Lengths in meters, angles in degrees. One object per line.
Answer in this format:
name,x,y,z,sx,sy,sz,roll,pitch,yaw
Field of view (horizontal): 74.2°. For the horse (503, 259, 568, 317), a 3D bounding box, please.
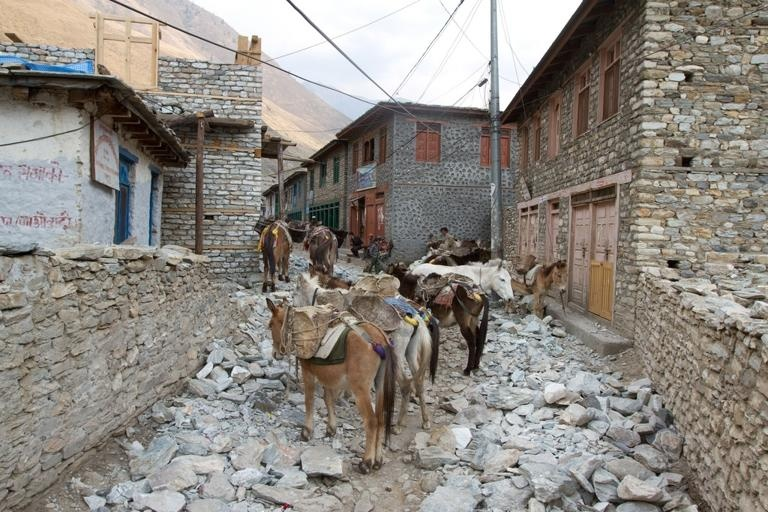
horse,4.192,0.842,14.267,1.580,1.657,2.455,-3,11,14
